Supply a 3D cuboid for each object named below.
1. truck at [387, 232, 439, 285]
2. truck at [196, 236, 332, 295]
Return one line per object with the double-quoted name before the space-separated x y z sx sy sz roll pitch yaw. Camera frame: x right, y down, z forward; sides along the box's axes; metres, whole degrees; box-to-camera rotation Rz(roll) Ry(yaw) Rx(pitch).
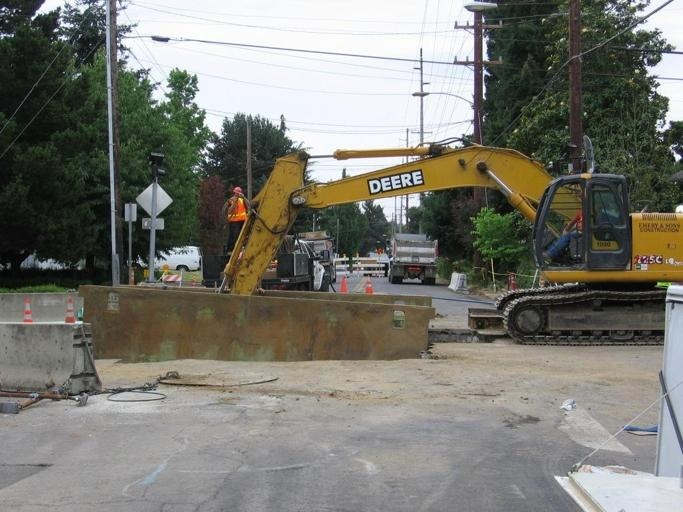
"truck" 3.901 0.254 44.778 2.320 2.822 5.047 2 -4 4
"truck" -1.533 0.410 23.635 1.774 1.345 2.728 0 2 14
